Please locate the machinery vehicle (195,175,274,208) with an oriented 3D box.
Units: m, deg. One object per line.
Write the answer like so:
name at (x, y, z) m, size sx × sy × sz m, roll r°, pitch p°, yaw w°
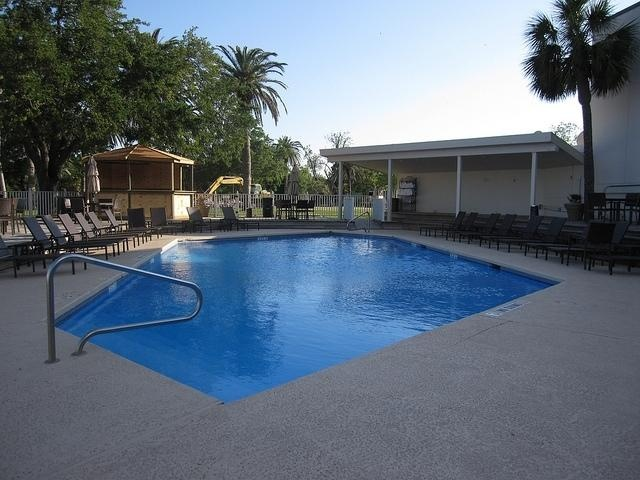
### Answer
machinery vehicle at (-6.292, -3.711, 31.372) m, size 5.384 × 2.615 × 1.582 m, roll -8°, pitch 12°, yaw -28°
